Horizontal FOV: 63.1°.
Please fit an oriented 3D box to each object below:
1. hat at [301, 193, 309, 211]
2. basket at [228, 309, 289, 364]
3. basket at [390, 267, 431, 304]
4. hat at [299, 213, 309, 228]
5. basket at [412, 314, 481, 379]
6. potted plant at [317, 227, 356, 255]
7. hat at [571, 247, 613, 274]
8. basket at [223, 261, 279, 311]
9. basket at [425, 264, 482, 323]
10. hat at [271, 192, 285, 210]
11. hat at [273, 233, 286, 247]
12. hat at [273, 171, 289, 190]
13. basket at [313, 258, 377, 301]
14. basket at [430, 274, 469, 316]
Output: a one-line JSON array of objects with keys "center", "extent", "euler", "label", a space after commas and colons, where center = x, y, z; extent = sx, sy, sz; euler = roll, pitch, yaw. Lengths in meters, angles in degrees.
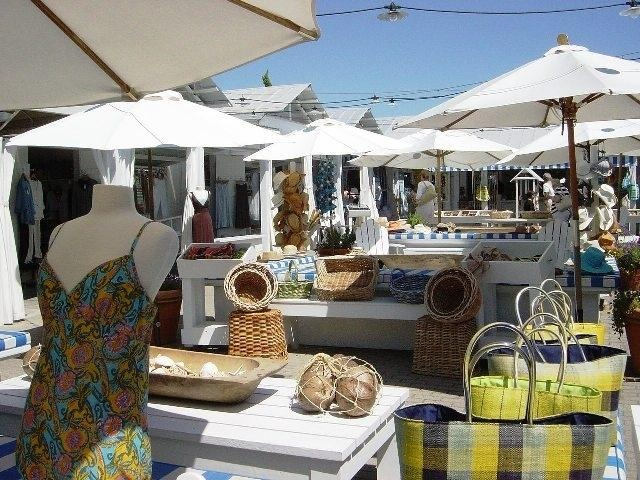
[{"center": [-0.216, -0.537, 7.387], "extent": [0.052, 0.189, 0.196], "euler": [-7, -5, 1], "label": "hat"}, {"center": [-0.621, 0.943, 5.180], "extent": [0.483, 0.393, 0.499], "euler": [0, -3, 7], "label": "basket"}, {"center": [0.922, 0.466, 5.337], "extent": [0.411, 0.218, 0.514], "euler": [-5, 15, 19], "label": "basket"}, {"center": [-0.227, -0.266, 7.378], "extent": [0.173, 0.163, 0.050], "euler": [9, -7, -41], "label": "hat"}, {"center": [1.156, 0.893, 5.091], "extent": [0.695, 0.718, 0.524], "euler": [5, 8, 28], "label": "basket"}, {"center": [0.230, 0.049, 7.488], "extent": [0.494, 0.546, 0.449], "euler": [3, -4, -31], "label": "potted plant"}, {"center": [2.915, 0.243, 5.505], "extent": [0.372, 0.157, 0.407], "euler": [11, 12, 28], "label": "hat"}, {"center": [-0.708, 0.482, 5.325], "extent": [0.479, 0.478, 0.390], "euler": [4, 9, 26], "label": "basket"}, {"center": [1.291, 0.530, 4.859], "extent": [0.445, 0.513, 0.409], "euler": [-10, -14, 39], "label": "basket"}, {"center": [-0.619, -0.553, 7.430], "extent": [0.184, 0.050, 0.210], "euler": [-25, 6, 17], "label": "hat"}, {"center": [-0.600, 0.008, 7.463], "extent": [0.158, 0.209, 0.208], "euler": [-6, 10, -37], "label": "hat"}, {"center": [-0.582, -0.850, 7.410], "extent": [0.224, 0.210, 0.257], "euler": [1, 5, -27], "label": "hat"}, {"center": [0.274, 0.503, 5.690], "extent": [0.515, 0.645, 0.164], "euler": [-10, 26, 9], "label": "basket"}, {"center": [1.276, 0.551, 4.917], "extent": [0.348, 0.389, 0.301], "euler": [11, 1, 39], "label": "basket"}]
